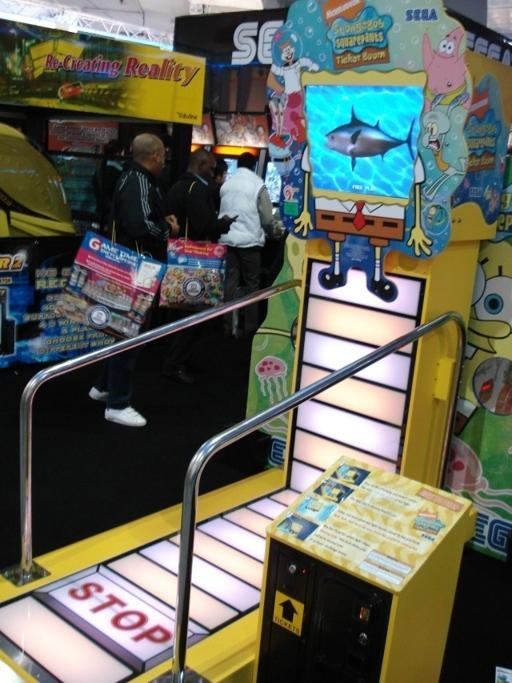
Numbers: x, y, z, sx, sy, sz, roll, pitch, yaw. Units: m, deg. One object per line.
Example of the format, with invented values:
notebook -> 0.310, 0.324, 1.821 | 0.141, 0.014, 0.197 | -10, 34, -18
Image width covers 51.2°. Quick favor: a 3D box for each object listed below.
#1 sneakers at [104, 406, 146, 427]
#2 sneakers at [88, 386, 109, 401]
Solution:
sneakers -> -0.838, 0.489, 3.451 | 0.252, 0.100, 0.122 | 11, 19, -2
sneakers -> -1.103, 0.368, 3.803 | 0.130, 0.078, 0.078 | 28, 9, -4
